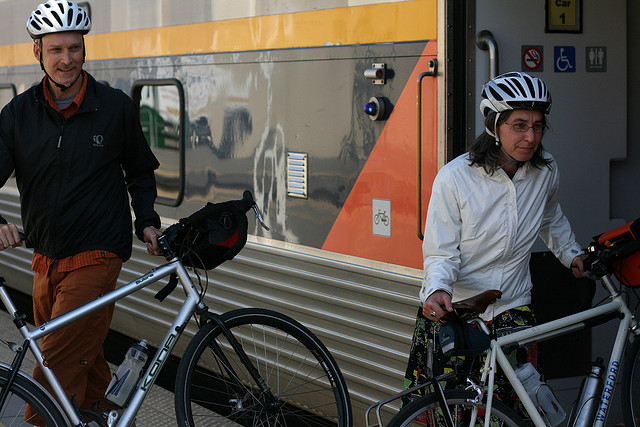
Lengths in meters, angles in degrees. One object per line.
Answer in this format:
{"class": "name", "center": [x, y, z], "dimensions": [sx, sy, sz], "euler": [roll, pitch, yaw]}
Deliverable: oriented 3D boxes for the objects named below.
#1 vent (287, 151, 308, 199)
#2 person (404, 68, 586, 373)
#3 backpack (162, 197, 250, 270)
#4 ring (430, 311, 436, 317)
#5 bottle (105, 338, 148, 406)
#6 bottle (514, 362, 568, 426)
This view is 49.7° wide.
{"class": "vent", "center": [-0.169, -0.304, 5.081], "dimensions": [0.027, 0.430, 0.257], "euler": [-5, 10, -43]}
{"class": "person", "center": [1.061, 0.091, 3.987], "dimensions": [1.037, 1.783, 0.463], "euler": [-2, 9, -18]}
{"class": "backpack", "center": [-0.680, 0.119, 4.249], "dimensions": [0.431, 0.482, 0.172], "euler": [-26, 18, 4]}
{"class": "ring", "center": [0.622, 0.547, 3.793], "dimensions": [0.012, 0.038, 0.035], "euler": [-6, 13, -39]}
{"class": "bottle", "center": [-1.169, 0.966, 4.167], "dimensions": [0.172, 0.430, 0.181], "euler": [12, -34, 8]}
{"class": "bottle", "center": [1.237, 1.014, 3.854], "dimensions": [0.275, 0.320, 0.147], "euler": [4, 9, 12]}
